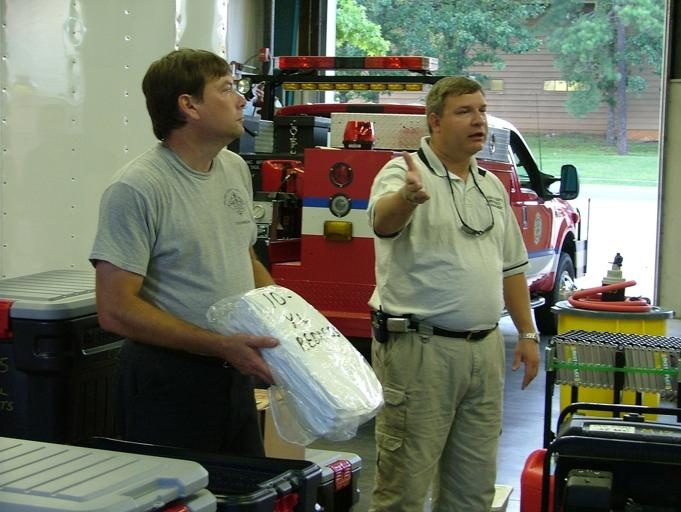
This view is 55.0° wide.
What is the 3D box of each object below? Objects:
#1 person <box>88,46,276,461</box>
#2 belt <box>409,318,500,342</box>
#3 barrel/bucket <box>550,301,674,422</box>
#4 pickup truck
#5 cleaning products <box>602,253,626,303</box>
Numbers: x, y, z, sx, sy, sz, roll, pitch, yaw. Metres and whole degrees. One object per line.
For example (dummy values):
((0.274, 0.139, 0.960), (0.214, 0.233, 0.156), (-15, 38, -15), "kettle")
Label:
((-0.460, 0.008, 1.909), (0.465, 1.236, 0.503), (0, 1, -7), "person")
((0.420, 0.271, 2.405), (0.355, 0.090, 0.065), (0, 1, -19), "belt")
((1.648, 0.625, 4.084), (0.546, 0.501, 0.550), (-2, -5, 0), "barrel/bucket")
((1.089, -0.521, 6.286), (1.703, 2.052, 4.135), (1, 2, 33), "pickup truck")
((1.704, 0.125, 4.077), (0.129, 0.299, 0.284), (0, 1, 22), "cleaning products")
